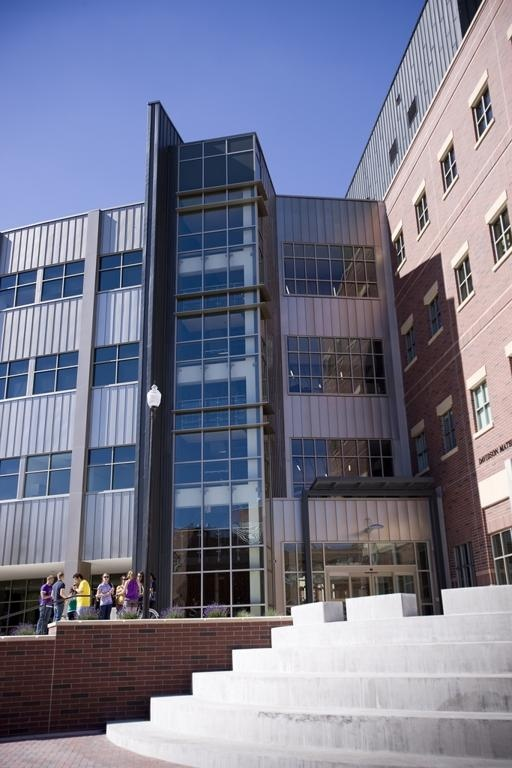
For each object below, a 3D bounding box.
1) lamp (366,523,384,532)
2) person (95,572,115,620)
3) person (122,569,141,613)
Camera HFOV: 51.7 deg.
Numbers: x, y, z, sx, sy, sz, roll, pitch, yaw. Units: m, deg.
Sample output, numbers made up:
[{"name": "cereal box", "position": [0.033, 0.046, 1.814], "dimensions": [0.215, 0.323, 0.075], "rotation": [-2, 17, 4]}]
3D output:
[{"name": "lamp", "position": [4.809, 5.797, 21.494], "dimensions": [0.747, 0.349, 0.514], "rotation": [-4, -21, 3]}, {"name": "person", "position": [-3.892, 5.355, 13.423], "dimensions": [0.400, 1.089, 2.572], "rotation": [3, -22, -15]}, {"name": "person", "position": [-3.438, 5.663, 14.477], "dimensions": [0.495, 1.041, 1.976], "rotation": [2, -22, -13]}]
